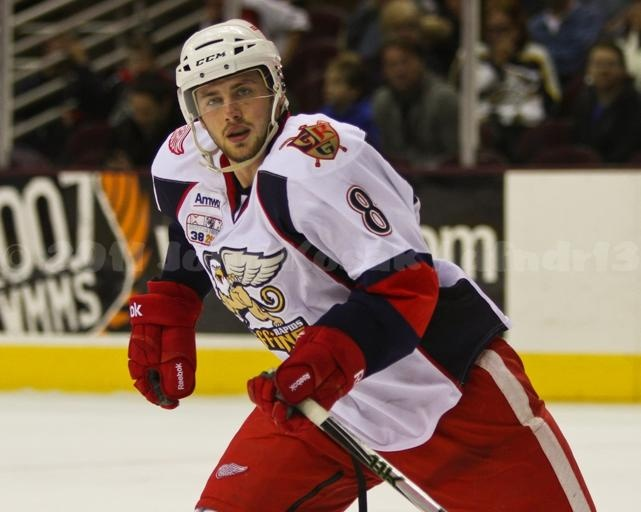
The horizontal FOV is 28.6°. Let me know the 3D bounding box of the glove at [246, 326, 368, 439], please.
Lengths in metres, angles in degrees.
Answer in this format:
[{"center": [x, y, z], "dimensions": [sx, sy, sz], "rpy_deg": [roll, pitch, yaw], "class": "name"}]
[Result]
[{"center": [-0.053, 0.400, 4.272], "dimensions": [0.373, 0.290, 0.159], "rpy_deg": [-46, 13, -4], "class": "glove"}]
